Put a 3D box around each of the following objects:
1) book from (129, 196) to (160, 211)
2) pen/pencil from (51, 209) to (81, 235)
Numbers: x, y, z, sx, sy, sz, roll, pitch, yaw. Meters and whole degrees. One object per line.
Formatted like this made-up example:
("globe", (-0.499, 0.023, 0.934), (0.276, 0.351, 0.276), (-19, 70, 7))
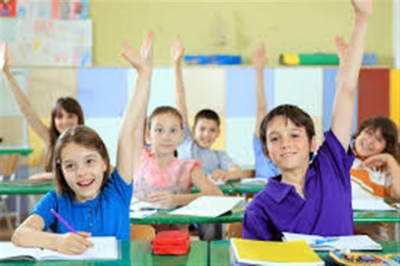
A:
("book", (-0.307, 0.394, 2.454), (0.113, 0.034, 0.111), (3, 0, -39))
("pen/pencil", (-0.612, 0.407, 2.007), (0.020, 0.020, 0.189), (34, -16, 43))
